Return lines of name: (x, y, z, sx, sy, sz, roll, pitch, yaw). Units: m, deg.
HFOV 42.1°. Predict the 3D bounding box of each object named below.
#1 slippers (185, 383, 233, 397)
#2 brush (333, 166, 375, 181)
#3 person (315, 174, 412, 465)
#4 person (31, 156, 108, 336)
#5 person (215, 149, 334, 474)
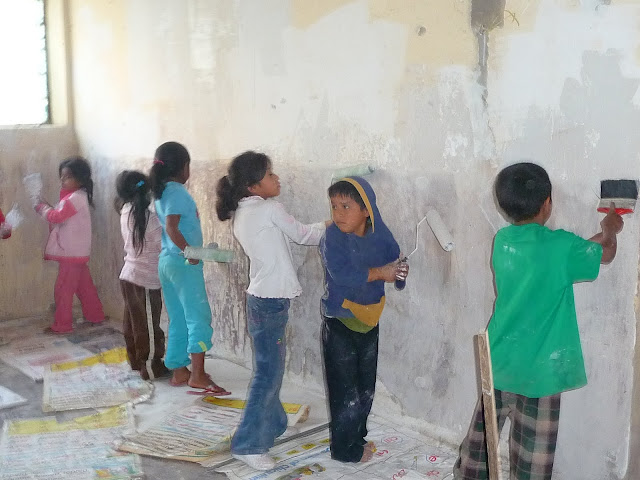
slippers: (-0.756, 0.991, 5.587, 0.244, 0.066, 0.100, 1, 2, 7)
brush: (0.232, -0.394, 5.090, 0.154, 0.047, 0.089, -14, 6, 29)
person: (0.239, 0.472, 4.713, 0.467, 1.641, 0.262, 1, 6, 1)
person: (-1.971, 0.049, 6.683, 0.444, 1.402, 0.221, -1, 7, -18)
person: (-0.301, 0.406, 4.829, 0.619, 1.816, 0.298, 1, 6, -4)
